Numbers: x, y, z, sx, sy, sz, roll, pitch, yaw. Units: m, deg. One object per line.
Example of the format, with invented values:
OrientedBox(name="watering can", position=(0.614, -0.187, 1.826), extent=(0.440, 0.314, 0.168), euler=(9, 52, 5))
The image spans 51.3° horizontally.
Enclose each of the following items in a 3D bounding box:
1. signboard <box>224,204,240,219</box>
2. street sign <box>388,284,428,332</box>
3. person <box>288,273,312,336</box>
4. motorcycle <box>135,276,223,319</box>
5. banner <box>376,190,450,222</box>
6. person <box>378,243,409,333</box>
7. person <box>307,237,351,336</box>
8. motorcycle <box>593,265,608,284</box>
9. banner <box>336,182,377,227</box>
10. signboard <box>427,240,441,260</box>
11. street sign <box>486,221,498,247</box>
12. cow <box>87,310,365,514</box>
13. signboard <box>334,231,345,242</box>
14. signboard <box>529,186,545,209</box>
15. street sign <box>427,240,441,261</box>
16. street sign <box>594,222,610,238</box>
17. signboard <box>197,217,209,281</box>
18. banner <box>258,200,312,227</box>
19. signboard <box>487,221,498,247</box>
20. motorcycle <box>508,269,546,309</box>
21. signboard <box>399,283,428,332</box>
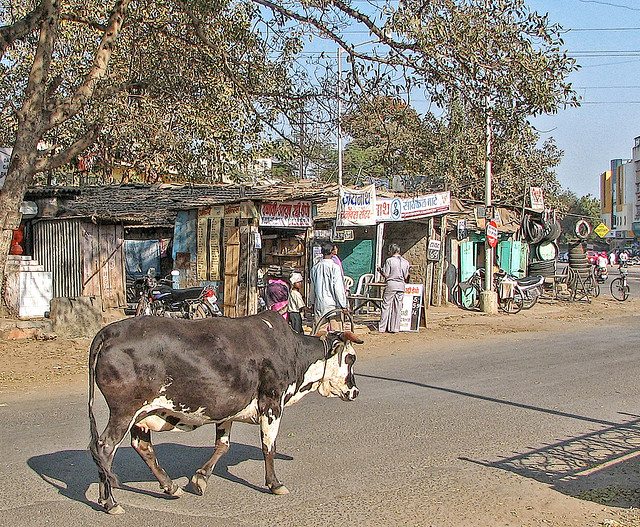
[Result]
OrientedBox(name="signboard", position=(-2.324, -1.414, 17.750), extent=(0.119, 0.386, 0.917), euler=(-2, 4, -28))
OrientedBox(name="street sign", position=(2.291, 1.041, 16.837), extent=(0.936, 1.174, 0.856), euler=(7, 9, 25))
OrientedBox(name="person", position=(-0.333, 0.873, 11.985), extent=(0.438, 1.536, 0.433), euler=(-6, 20, -16))
OrientedBox(name="motorcycle", position=(-3.303, 0.811, 16.203), extent=(1.077, 0.924, 0.857), euler=(-7, 11, -43))
OrientedBox(name="banner", position=(2.409, -1.518, 17.305), extent=(1.847, 0.797, 0.480), euler=(1, 4, 7))
OrientedBox(name="person", position=(1.798, 0.612, 16.257), extent=(0.675, 2.183, 0.695), euler=(1, 4, 6))
OrientedBox(name="person", position=(0.117, 0.795, 13.031), extent=(0.829, 2.460, 0.510), euler=(3, 8, 34))
OrientedBox(name="motorcycle", position=(12.393, 0.445, 29.677), extent=(0.648, 0.600, 1.169), euler=(3, 9, 18))
OrientedBox(name="banner", position=(0.862, -1.457, 16.233), extent=(0.961, 1.159, 0.118), euler=(-2, 30, -5))
OrientedBox(name="signboard", position=(3.303, -0.428, 19.435), extent=(0.271, 0.566, 0.479), euler=(1, 4, 19))
OrientedBox(name="street sign", position=(5.132, -0.918, 20.001), extent=(0.125, 1.027, 0.802), euler=(-2, 1, 26))
OrientedBox(name="cow", position=(-0.808, 1.404, 6.508), extent=(2.825, 1.856, 0.861), euler=(5, -4, -31))
OrientedBox(name="signboard", position=(0.551, -0.788, 18.443), extent=(0.275, 0.262, 0.183), euler=(0, 4, 1))
OrientedBox(name="signboard", position=(7.617, -2.376, 23.510), extent=(0.161, 0.698, 0.684), euler=(0, -3, 44))
OrientedBox(name="street sign", position=(3.283, -0.414, 19.401), extent=(0.499, 0.679, 0.091), euler=(10, -20, -20))
OrientedBox(name="street sign", position=(16.738, -2.119, 39.826), extent=(0.666, 0.802, 1.813), euler=(2, 3, 22))
OrientedBox(name="signboard", position=(-3.330, -0.441, 19.039), extent=(0.109, 1.800, 0.561), euler=(-3, 5, -35))
OrientedBox(name="banner", position=(-0.846, -1.339, 17.254), extent=(1.590, 0.689, 0.121), euler=(-2, 4, -36))
OrientedBox(name="signboard", position=(5.127, -0.911, 19.961), extent=(0.241, 0.776, 0.529), euler=(1, 4, 15))
OrientedBox(name="motorcycle", position=(7.132, 0.844, 22.437), extent=(1.658, 1.152, 1.115), euler=(3, 2, 0))
OrientedBox(name="signboard", position=(2.269, 1.057, 16.718), extent=(0.775, 1.130, 0.615), euler=(6, 13, 38))
